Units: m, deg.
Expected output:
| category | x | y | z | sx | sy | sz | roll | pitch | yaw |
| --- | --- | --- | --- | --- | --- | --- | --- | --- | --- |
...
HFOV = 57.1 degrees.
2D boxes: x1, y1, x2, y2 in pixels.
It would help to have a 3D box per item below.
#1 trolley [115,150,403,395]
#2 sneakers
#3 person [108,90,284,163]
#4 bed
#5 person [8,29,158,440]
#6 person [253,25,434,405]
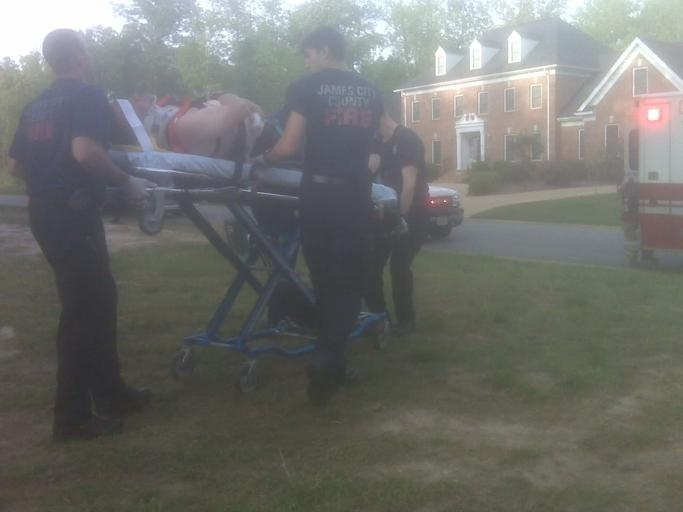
| category | x | y | z | sx | sy | sz | roll | pitch | yaw |
| --- | --- | --- | --- | --- | --- | --- | --- | --- | --- |
| trolley | -0.551 | 0.060 | 5.251 | 0.860 | 1.688 | 2.464 | 10 | 9 | 41 |
| sneakers | -1.637 | 1.103 | 4.268 | 0.260 | 0.093 | 0.449 | -43 | -10 | 33 |
| person | -1.055 | -0.962 | 4.654 | 0.699 | 0.379 | 0.597 | 7 | 9 | 6 |
| bed | -0.604 | 0.135 | 5.147 | 2.433 | 1.703 | 0.929 | -2 | 7 | -32 |
| person | -1.714 | -0.139 | 4.116 | 0.664 | 2.637 | 0.461 | -4 | 9 | -29 |
| person | -0.091 | -0.293 | 4.628 | 0.767 | 2.718 | 0.368 | 0 | 8 | -6 |
